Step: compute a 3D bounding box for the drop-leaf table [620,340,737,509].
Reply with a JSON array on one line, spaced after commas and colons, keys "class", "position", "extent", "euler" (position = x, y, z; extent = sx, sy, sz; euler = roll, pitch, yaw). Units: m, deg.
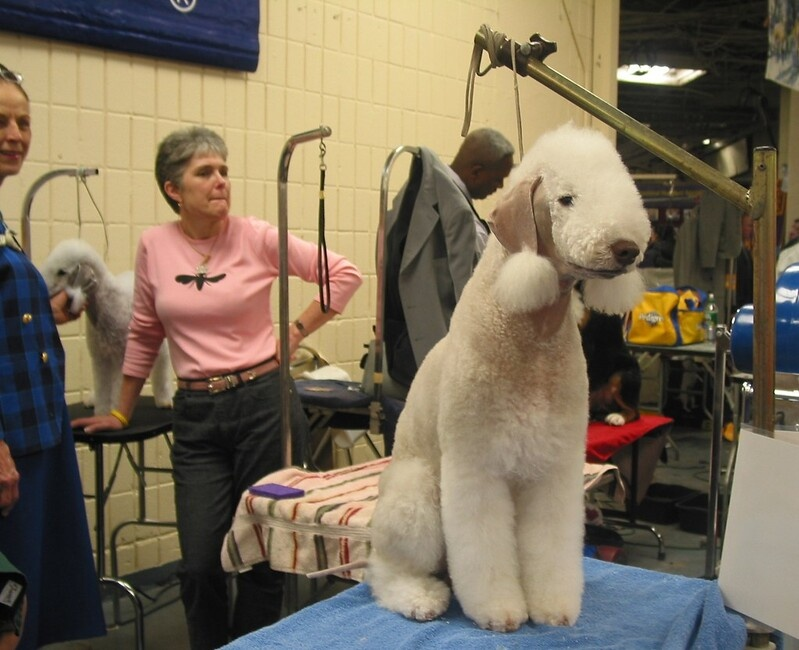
[{"class": "drop-leaf table", "position": [2.320, 0.566, 7.519], "extent": [0.569, 0.700, 0.761], "euler": [14, 13, 25]}]

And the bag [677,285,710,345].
[{"class": "bag", "position": [2.000, -0.060, 6.048], "extent": [0.254, 0.409, 0.393], "euler": [0, -2, 10]}]

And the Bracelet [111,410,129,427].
[{"class": "Bracelet", "position": [-1.037, 0.342, 3.243], "extent": [0.021, 0.058, 0.056], "euler": [-37, 37, -7]}]

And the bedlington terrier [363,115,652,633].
[{"class": "bedlington terrier", "position": [0.247, 0.111, 2.112], "extent": [0.669, 1.188, 0.275], "euler": [1, 4, 16]}]

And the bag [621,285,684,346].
[{"class": "bag", "position": [1.675, -0.061, 5.822], "extent": [0.377, 0.426, 0.198], "euler": [4, 33, 26]}]

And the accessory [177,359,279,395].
[{"class": "accessory", "position": [-0.595, 0.173, 3.008], "extent": [0.341, 0.111, 0.107], "euler": [0, 4, -6]}]
